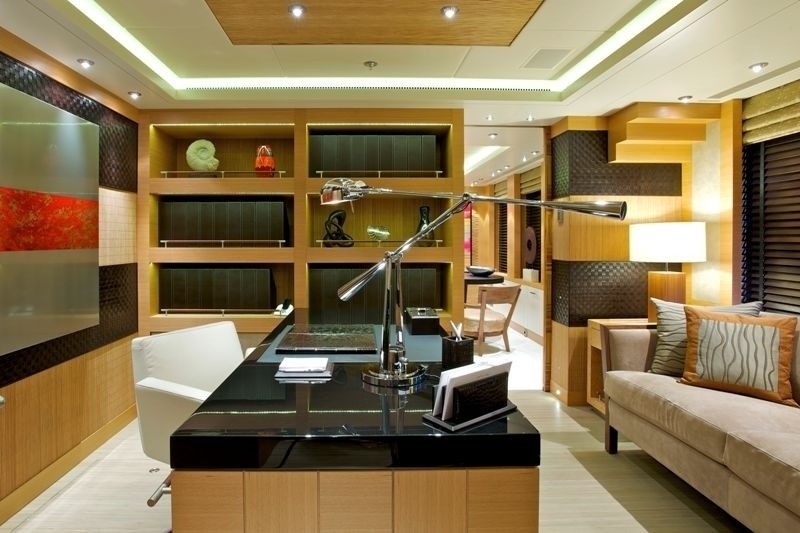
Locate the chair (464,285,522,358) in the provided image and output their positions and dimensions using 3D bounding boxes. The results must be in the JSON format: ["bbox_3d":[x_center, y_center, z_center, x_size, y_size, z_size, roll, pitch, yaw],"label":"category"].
[{"bbox_3d":[1.088,0.650,7.468,0.697,0.818,0.793,0,3,-35],"label":"chair"}]

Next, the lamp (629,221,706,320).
[{"bbox_3d":[2.340,-0.135,5.131,0.463,0.440,0.424,0,-3,-2],"label":"lamp"}]

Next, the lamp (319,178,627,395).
[{"bbox_3d":[0.402,0.124,3.383,1.683,1.151,0.321,0,10,7],"label":"lamp"}]
